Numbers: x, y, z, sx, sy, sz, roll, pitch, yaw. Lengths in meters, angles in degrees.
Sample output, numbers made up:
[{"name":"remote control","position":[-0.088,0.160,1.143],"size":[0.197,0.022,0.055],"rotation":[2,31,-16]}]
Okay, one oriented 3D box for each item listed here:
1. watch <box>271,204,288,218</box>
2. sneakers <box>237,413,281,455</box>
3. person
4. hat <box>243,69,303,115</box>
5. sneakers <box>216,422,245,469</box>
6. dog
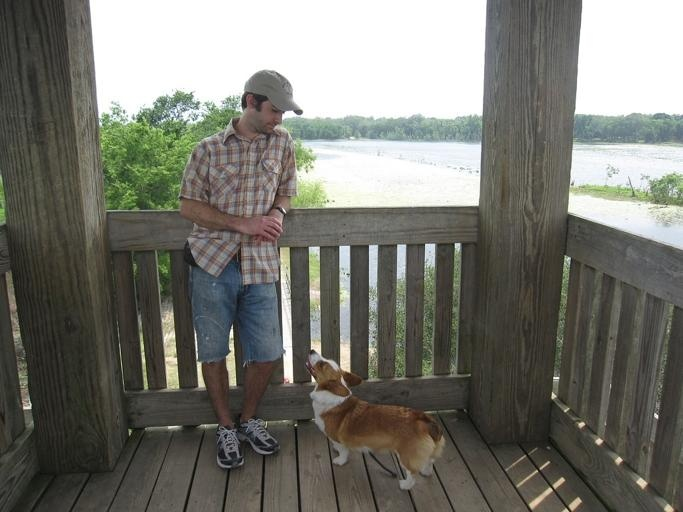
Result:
[{"name":"watch","position":[-0.297,-0.231,2.486],"size":[0.071,0.024,0.039],"rotation":[46,27,6]},{"name":"sneakers","position":[-0.413,0.896,2.580],"size":[0.239,0.121,0.110],"rotation":[16,15,36]},{"name":"person","position":[-0.444,0.057,2.449],"size":[0.585,1.817,0.515],"rotation":[-6,16,-18]},{"name":"hat","position":[-0.305,-0.743,2.357],"size":[0.258,0.144,0.183],"rotation":[25,29,8]},{"name":"sneakers","position":[-0.538,0.915,2.429],"size":[0.086,0.113,0.233],"rotation":[0,2,-17]},{"name":"dog","position":[0.150,0.804,2.450],"size":[0.698,0.507,0.243],"rotation":[16,32,27]}]
